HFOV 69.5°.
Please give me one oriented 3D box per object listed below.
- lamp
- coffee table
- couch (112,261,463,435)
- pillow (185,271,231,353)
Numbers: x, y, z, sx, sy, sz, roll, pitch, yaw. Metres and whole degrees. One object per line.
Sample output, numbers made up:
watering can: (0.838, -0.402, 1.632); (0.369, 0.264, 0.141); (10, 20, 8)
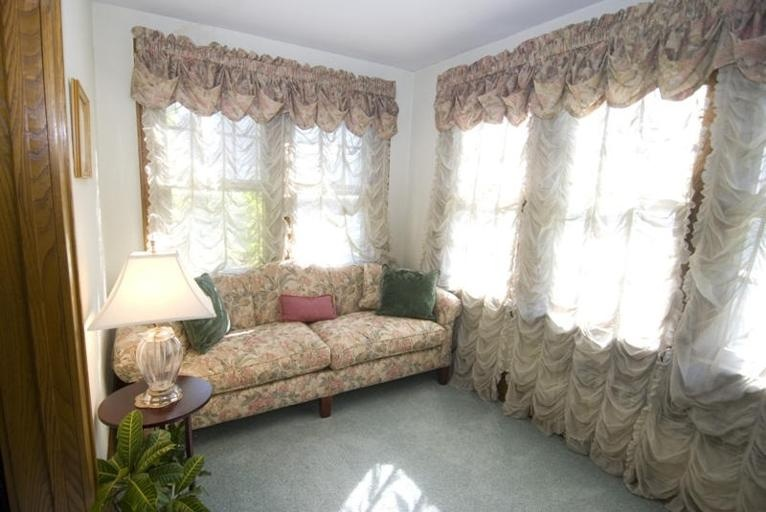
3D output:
lamp: (-1.361, 0.425, 3.393); (0.804, 0.958, 0.881); (1, 5, 37)
coffee table: (-1.351, 1.029, 3.280); (0.513, 0.387, 0.513); (2, 7, -15)
couch: (-0.611, 0.642, 4.487); (2.473, 1.002, 0.911); (-7, 15, -33)
pillow: (-1.212, 0.413, 3.812); (0.201, 0.398, 0.405); (-10, 49, -5)
